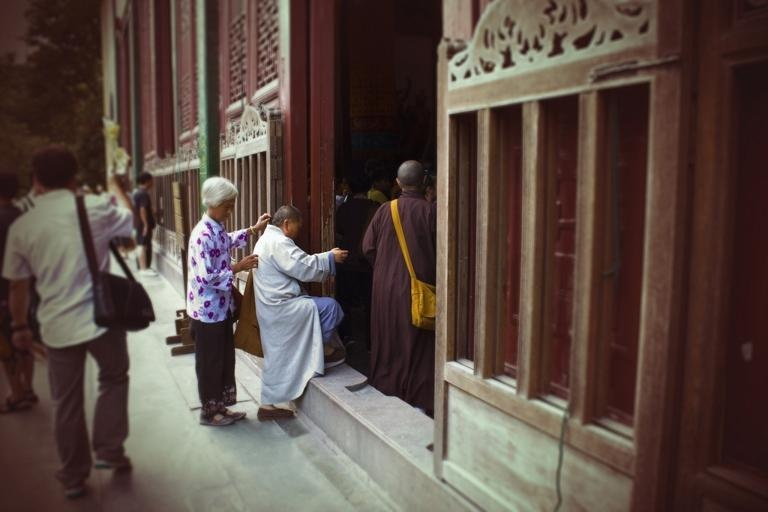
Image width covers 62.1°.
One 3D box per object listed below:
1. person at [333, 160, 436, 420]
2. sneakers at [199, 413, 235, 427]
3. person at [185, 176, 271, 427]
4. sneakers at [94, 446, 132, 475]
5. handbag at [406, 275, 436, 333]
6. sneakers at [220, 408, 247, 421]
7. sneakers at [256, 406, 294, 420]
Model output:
[{"bbox_3d":[0.125,0.215,4.989,0.773,1.868,0.518,7,11,24],"label":"person"},{"bbox_3d":[-1.335,1.273,5.004,0.201,0.090,0.110,-1,6,-2],"label":"sneakers"},{"bbox_3d":[-1.315,0.335,5.105,0.516,1.927,0.585,-2,11,-26],"label":"person"},{"bbox_3d":[-1.730,1.323,4.097,0.098,0.121,0.241,18,13,39],"label":"sneakers"},{"bbox_3d":[0.332,0.354,4.834,0.266,0.540,0.433,0,-1,12],"label":"handbag"},{"bbox_3d":[-1.202,1.273,5.102,0.218,0.104,0.079,-2,6,-7],"label":"sneakers"},{"bbox_3d":[-0.898,1.250,5.207,0.306,0.135,0.116,-1,5,-17],"label":"sneakers"}]
